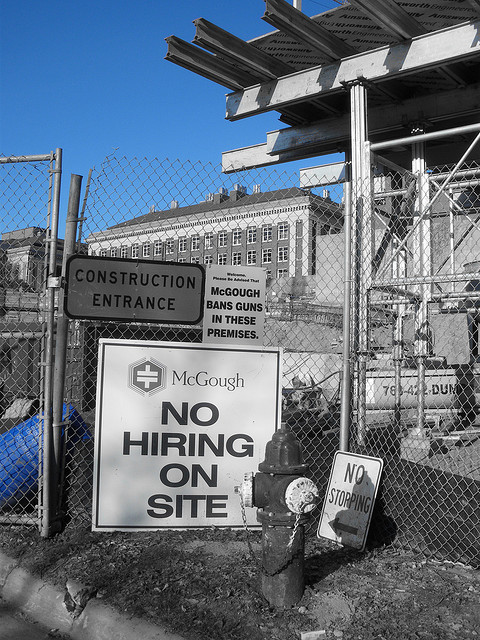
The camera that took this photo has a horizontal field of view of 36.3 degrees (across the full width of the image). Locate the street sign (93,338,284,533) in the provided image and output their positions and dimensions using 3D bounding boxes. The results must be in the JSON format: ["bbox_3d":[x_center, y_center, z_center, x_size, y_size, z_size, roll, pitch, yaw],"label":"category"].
[{"bbox_3d":[-0.387,0.825,4.951,1.173,1.308,0.049,3,-11,-16],"label":"street sign"}]

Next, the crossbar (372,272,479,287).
[{"bbox_3d":[1.481,-0.321,5.864,0.819,0.134,0.575,2,4,18],"label":"crossbar"}]

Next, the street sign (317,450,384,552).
[{"bbox_3d":[0.731,1.211,4.936,0.207,0.606,0.429,-2,4,-38],"label":"street sign"}]

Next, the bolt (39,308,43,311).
[{"bbox_3d":[-1.559,-0.085,5.750,0.028,0.010,0.029,9,-5,-33],"label":"bolt"}]

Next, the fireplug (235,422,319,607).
[{"bbox_3d":[0.223,1.073,4.090,0.460,0.894,0.327,4,5,43],"label":"fireplug"}]

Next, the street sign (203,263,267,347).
[{"bbox_3d":[-0.036,-0.085,5.280,0.456,0.664,0.059,3,-24,-2],"label":"street sign"}]

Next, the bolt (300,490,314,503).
[{"bbox_3d":[0.359,0.945,3.919,0.057,0.059,0.060,-4,-21,-5],"label":"bolt"}]
